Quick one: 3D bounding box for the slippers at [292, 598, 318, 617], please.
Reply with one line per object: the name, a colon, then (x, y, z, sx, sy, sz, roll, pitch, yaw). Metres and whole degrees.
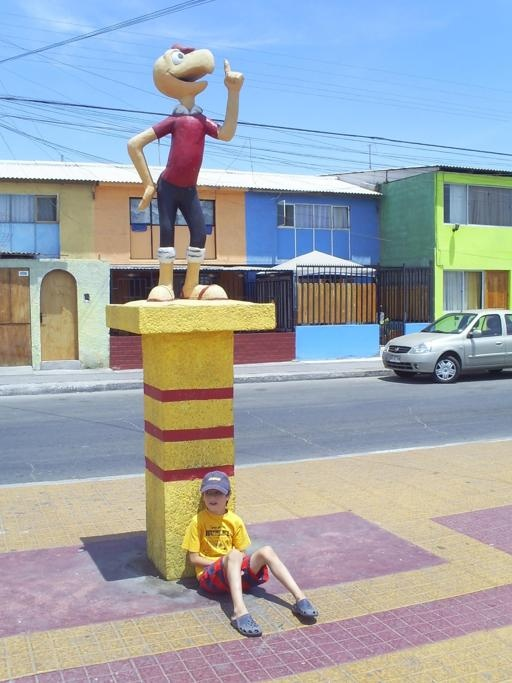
slippers: (0.251, 1.306, 3.734, 0.065, 0.049, 0.121, 0, -6, -21)

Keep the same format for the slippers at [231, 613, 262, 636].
slippers: (-0.066, 1.327, 3.597, 0.087, 0.081, 0.208, -2, 3, -36)

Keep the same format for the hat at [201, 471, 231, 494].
hat: (-0.215, 0.767, 4.101, 0.105, 0.078, 0.140, 0, -16, 9)

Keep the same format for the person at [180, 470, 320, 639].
person: (-0.097, 1.047, 3.922, 0.490, 0.599, 0.846, 0, 0, -38)
